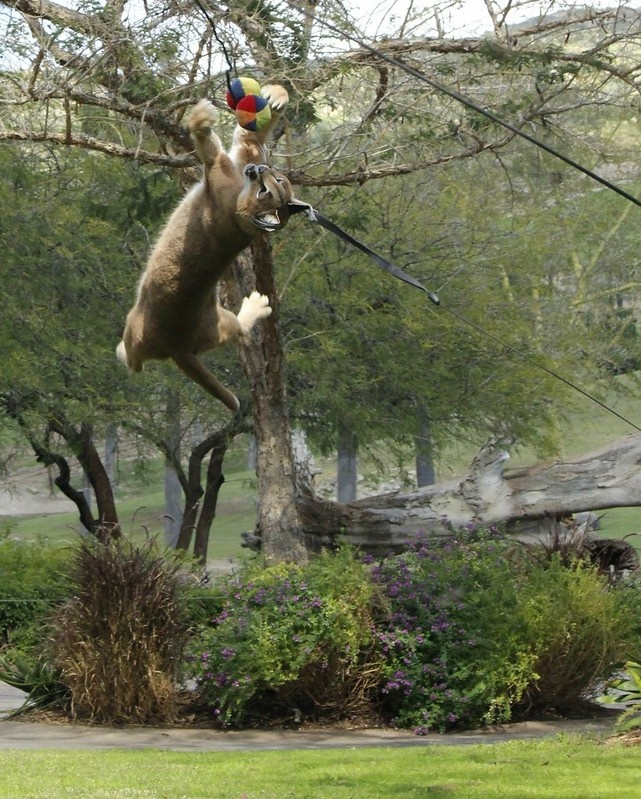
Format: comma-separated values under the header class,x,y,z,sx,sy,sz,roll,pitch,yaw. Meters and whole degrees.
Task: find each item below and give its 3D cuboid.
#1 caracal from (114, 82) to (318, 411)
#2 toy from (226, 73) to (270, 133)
class,x,y,z,sx,sy,sz,roll,pitch,yaw
caracal,-0.533,-0.791,6.801,0.758,1.702,0.955,-2,-7,-24
toy,-0.384,-1.548,6.782,0.178,0.120,0.263,25,-34,9
